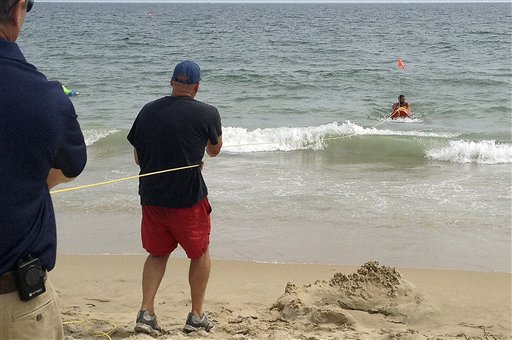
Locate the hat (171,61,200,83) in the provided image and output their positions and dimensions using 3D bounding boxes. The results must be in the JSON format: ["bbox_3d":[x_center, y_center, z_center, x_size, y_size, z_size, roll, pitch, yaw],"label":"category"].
[{"bbox_3d":[-0.702,-1.030,5.867,0.230,0.131,0.303,6,24,6],"label":"hat"}]

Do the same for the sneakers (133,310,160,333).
[{"bbox_3d":[-1.094,1.544,5.700,0.265,0.229,0.216,0,8,-9],"label":"sneakers"}]

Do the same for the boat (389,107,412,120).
[{"bbox_3d":[4.896,-1.936,19.318,0.378,0.237,0.659,-4,20,11],"label":"boat"}]

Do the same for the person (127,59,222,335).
[{"bbox_3d":[-0.819,0.277,5.781,0.938,2.753,0.579,0,9,-11],"label":"person"}]

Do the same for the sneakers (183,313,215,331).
[{"bbox_3d":[-0.575,1.576,5.901,0.331,0.131,0.157,3,-2,-43],"label":"sneakers"}]
